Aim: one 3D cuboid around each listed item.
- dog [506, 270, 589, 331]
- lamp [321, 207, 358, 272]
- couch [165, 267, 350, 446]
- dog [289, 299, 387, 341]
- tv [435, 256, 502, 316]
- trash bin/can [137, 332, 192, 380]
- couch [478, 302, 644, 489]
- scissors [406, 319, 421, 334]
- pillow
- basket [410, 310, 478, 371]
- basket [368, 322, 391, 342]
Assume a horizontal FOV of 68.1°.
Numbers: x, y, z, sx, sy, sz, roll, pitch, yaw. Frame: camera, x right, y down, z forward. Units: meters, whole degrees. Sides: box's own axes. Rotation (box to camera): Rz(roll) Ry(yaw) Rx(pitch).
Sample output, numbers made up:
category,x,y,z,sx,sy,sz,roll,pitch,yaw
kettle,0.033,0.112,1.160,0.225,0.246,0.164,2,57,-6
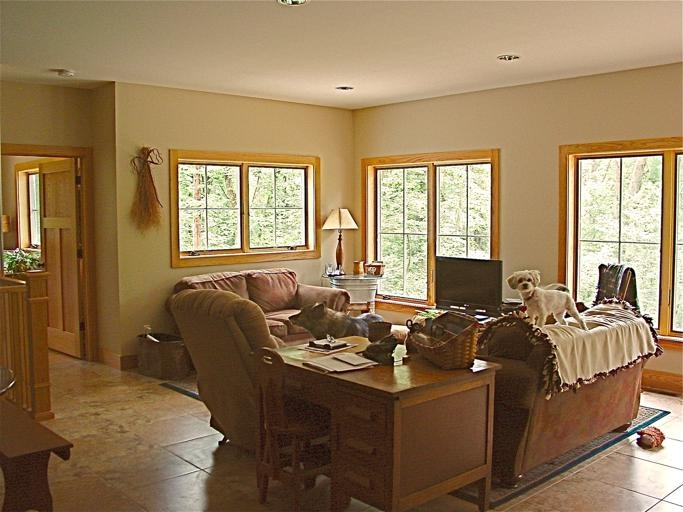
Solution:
category,x,y,z,sx,sy,sz,roll,pitch,yaw
dog,1.420,0.338,3.496,0.686,0.354,0.198,13,-19,-31
lamp,-0.010,-0.257,7.141,0.520,0.886,0.607,0,5,1
couch,-0.582,0.483,3.764,1.200,0.640,0.667,-6,12,-40
dog,-0.018,0.526,3.673,0.804,0.276,0.245,9,-8,-34
tv,1.366,0.320,5.384,0.254,0.455,0.818,-1,3,-41
trash bin/can,-1.951,1.096,5.576,0.887,0.442,0.513,1,1,43
couch,1.408,0.922,3.260,1.496,0.635,0.670,-2,3,-41
scissors,0.408,0.411,2.932,0.105,0.074,0.056,1,1,22
pillow,0.036,0.452,3.770,0.902,0.315,0.276,1,-3,-29
basket,0.534,0.445,2.775,0.323,0.152,0.360,-13,10,-11
basket,0.226,0.437,2.961,0.133,0.081,0.130,0,-3,12
